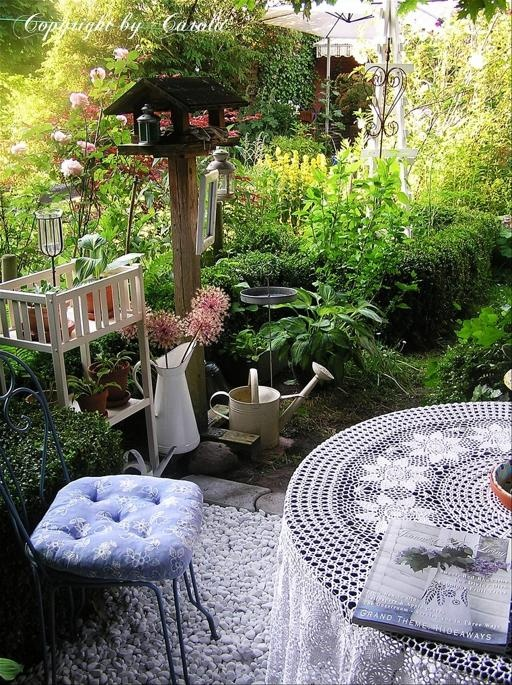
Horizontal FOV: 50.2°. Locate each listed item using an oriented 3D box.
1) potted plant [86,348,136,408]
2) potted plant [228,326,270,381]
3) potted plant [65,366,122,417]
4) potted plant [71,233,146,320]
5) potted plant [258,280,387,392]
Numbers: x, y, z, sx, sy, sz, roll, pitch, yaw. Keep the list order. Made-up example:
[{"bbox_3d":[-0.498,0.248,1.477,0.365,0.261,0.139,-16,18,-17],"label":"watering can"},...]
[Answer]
[{"bbox_3d":[-0.655,0.165,2.627,0.277,0.316,0.248,1,7,9],"label":"potted plant"},{"bbox_3d":[-0.052,0.076,3.617,0.225,0.308,0.246,-19,31,-26],"label":"potted plant"},{"bbox_3d":[-0.732,0.225,2.481,0.217,0.158,0.258,12,26,32],"label":"potted plant"},{"bbox_3d":[-0.690,-0.313,2.429,0.367,0.357,0.305,3,9,-25],"label":"potted plant"},{"bbox_3d":[0.424,-0.078,3.827,0.772,0.689,0.871,-3,14,1],"label":"potted plant"}]
